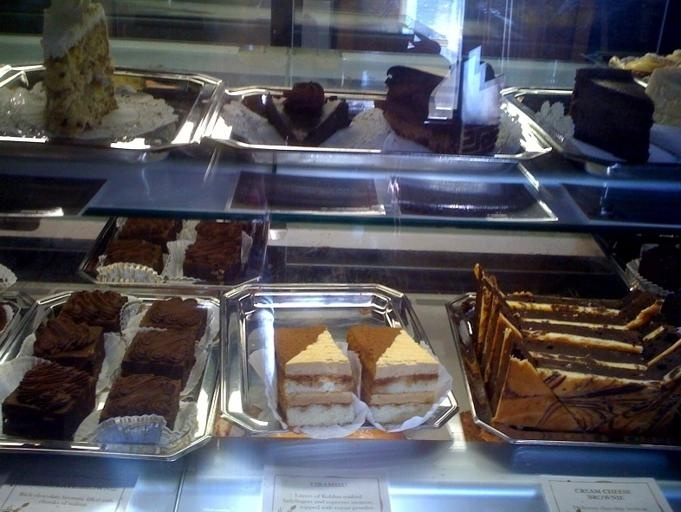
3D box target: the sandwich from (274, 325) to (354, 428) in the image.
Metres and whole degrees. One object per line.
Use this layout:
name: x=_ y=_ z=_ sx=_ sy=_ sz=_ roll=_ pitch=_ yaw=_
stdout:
sandwich: x=-0.130 y=0.405 z=1.638 sx=0.225 sy=0.218 sz=0.408 roll=1 pitch=-2 yaw=-22

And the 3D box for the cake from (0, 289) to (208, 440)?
cake: x=-0.695 y=0.322 z=1.545 sx=0.407 sy=0.137 sz=0.433 roll=3 pitch=35 yaw=-2

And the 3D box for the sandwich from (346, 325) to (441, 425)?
sandwich: x=0.153 y=0.334 z=1.581 sx=0.224 sy=0.241 sz=0.353 roll=-4 pitch=20 yaw=-12

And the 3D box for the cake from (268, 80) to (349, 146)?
cake: x=-0.105 y=-0.435 z=1.601 sx=0.219 sy=0.112 sz=0.239 roll=12 pitch=33 yaw=16

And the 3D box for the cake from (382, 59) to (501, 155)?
cake: x=0.263 y=-0.441 z=1.589 sx=0.379 sy=0.309 sz=0.240 roll=17 pitch=32 yaw=14
